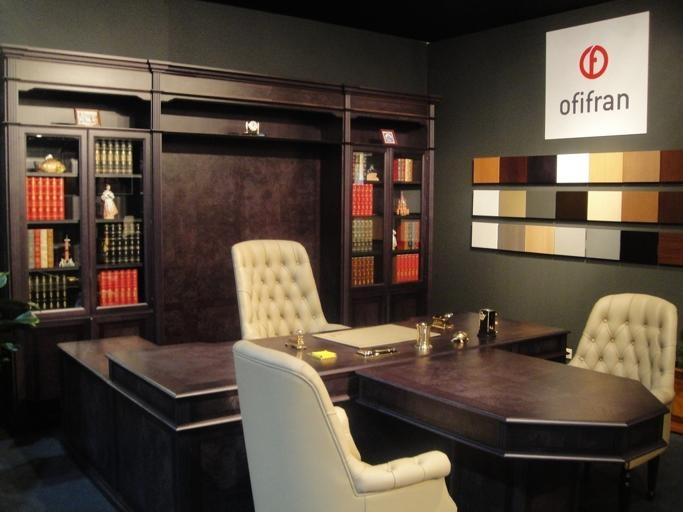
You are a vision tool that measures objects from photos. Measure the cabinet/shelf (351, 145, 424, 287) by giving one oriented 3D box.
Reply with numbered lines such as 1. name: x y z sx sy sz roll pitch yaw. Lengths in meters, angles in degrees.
1. cabinet/shelf: 0.374 -0.423 5.604 0.794 1.440 0.398 -1 -10 19

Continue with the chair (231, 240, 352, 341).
1. chair: -0.516 0.270 4.517 0.642 0.955 0.797 -2 -4 -33

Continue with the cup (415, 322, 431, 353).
1. cup: 0.474 0.484 3.312 0.127 0.153 0.124 0 -1 0
